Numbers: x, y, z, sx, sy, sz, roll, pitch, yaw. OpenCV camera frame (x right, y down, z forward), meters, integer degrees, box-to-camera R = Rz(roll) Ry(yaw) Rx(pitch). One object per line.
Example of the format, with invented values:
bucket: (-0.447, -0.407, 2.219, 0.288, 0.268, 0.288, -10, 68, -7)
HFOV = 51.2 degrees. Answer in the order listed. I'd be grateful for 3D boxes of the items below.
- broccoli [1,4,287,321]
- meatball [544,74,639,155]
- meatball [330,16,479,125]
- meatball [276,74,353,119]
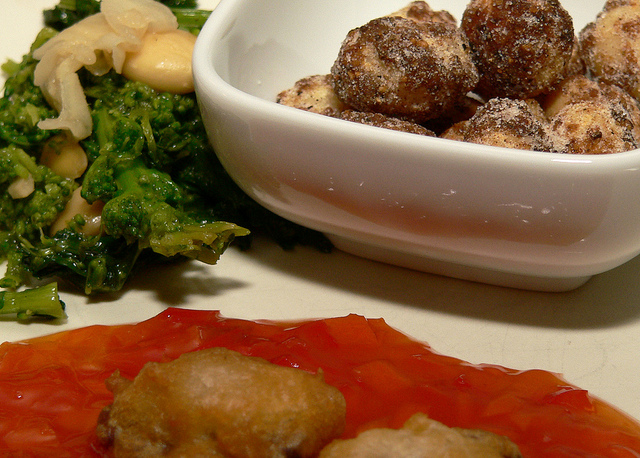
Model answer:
broccoli: (-0.290, -0.060, 1.000, 0.444, 0.153, 0.461, 4, 47, -11)
meatball: (0.386, -0.171, 0.942, 0.125, 0.045, 0.139, -1, 40, 1)
meatball: (0.129, -0.245, 0.970, 0.114, 0.146, 0.209, -19, 28, -39)
meatball: (-0.012, -0.218, 1.038, 0.059, 0.075, 0.115, 13, 27, 37)
